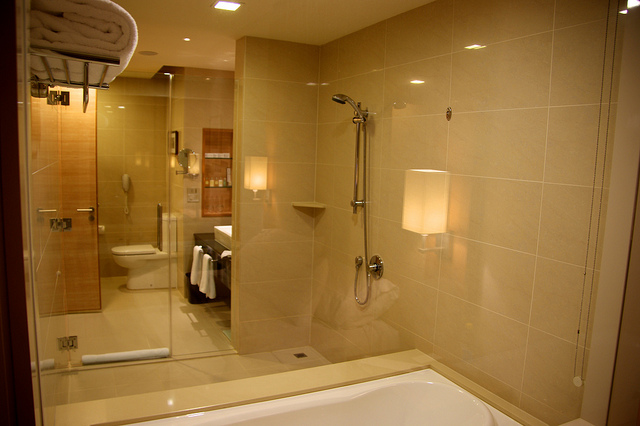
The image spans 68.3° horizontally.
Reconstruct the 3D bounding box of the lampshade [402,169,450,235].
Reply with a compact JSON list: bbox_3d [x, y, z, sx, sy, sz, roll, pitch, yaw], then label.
[{"bbox_3d":[0.701,-0.091,3.205,0.261,0.434,0.198,2,12,-14],"label":"lampshade"}]

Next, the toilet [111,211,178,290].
[{"bbox_3d":[-1.234,0.274,3.325,0.444,0.512,0.256,-2,1,-24],"label":"toilet"}]

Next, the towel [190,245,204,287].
[{"bbox_3d":[-0.870,0.369,3.356,0.080,0.265,0.073,4,4,-15],"label":"towel"}]
